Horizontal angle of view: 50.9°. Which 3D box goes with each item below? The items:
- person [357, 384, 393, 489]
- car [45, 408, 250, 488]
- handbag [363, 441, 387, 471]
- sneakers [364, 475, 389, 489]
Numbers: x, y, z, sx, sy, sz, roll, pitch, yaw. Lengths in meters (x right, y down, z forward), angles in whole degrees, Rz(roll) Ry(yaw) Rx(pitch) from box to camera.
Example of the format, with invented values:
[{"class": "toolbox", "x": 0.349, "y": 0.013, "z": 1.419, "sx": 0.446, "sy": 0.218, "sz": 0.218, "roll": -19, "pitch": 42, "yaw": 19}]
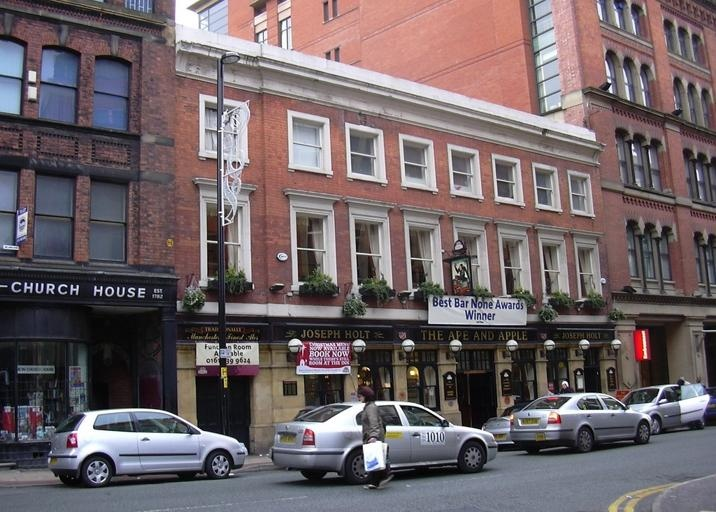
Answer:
[{"class": "person", "x": 0.424, "y": 4.672, "z": 19.020, "sx": 0.801, "sy": 2.500, "sz": 1.149, "roll": -3, "pitch": -44, "yaw": 1}, {"class": "car", "x": -5.749, "y": 5.069, "z": 20.892, "sx": 4.448, "sy": 1.640, "sz": 2.187, "roll": 2, "pitch": -10, "yaw": -28}, {"class": "handbag", "x": 0.446, "y": 4.888, "z": 18.399, "sx": 0.644, "sy": 0.658, "sz": 0.195, "roll": -9, "pitch": -13, "yaw": 15}, {"class": "sneakers", "x": 0.482, "y": 5.566, "z": 18.499, "sx": 0.446, "sy": 0.192, "sz": 0.136, "roll": -34, "pitch": 20, "yaw": 8}]
